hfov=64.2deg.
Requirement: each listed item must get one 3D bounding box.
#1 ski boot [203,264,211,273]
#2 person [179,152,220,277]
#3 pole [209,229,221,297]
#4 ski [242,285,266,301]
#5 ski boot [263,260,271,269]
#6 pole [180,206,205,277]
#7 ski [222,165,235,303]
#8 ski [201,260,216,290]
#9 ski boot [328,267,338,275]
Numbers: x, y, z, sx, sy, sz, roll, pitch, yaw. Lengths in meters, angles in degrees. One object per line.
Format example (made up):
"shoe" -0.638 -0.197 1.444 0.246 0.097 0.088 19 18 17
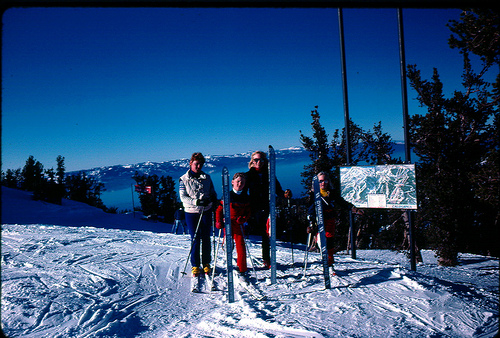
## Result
"ski boot" -1.265 2.878 11.633 0.171 0.226 0.070 12 8 33
"person" -1.465 1.290 11.544 1.086 3.632 0.755 -3 12 -11
"pole" -1.035 2.724 11.706 0.109 1.949 0.220 27 -21 -38
"ski" 0.138 3.392 10.984 0.258 0.096 0.747 -8 13 -36
"ski boot" 0.525 2.915 12.276 0.161 0.268 0.137 -3 -5 -2
"pole" -1.659 2.109 11.544 0.786 1.892 0.694 0 -9 -2
"ski" -0.615 1.606 10.897 0.298 3.908 0.286 3 -11 -26
"ski" -1.168 3.157 11.596 0.119 0.134 1.006 -2 19 -15
"ski boot" 2.480 3.025 11.917 0.316 0.094 0.304 -8 7 -8
